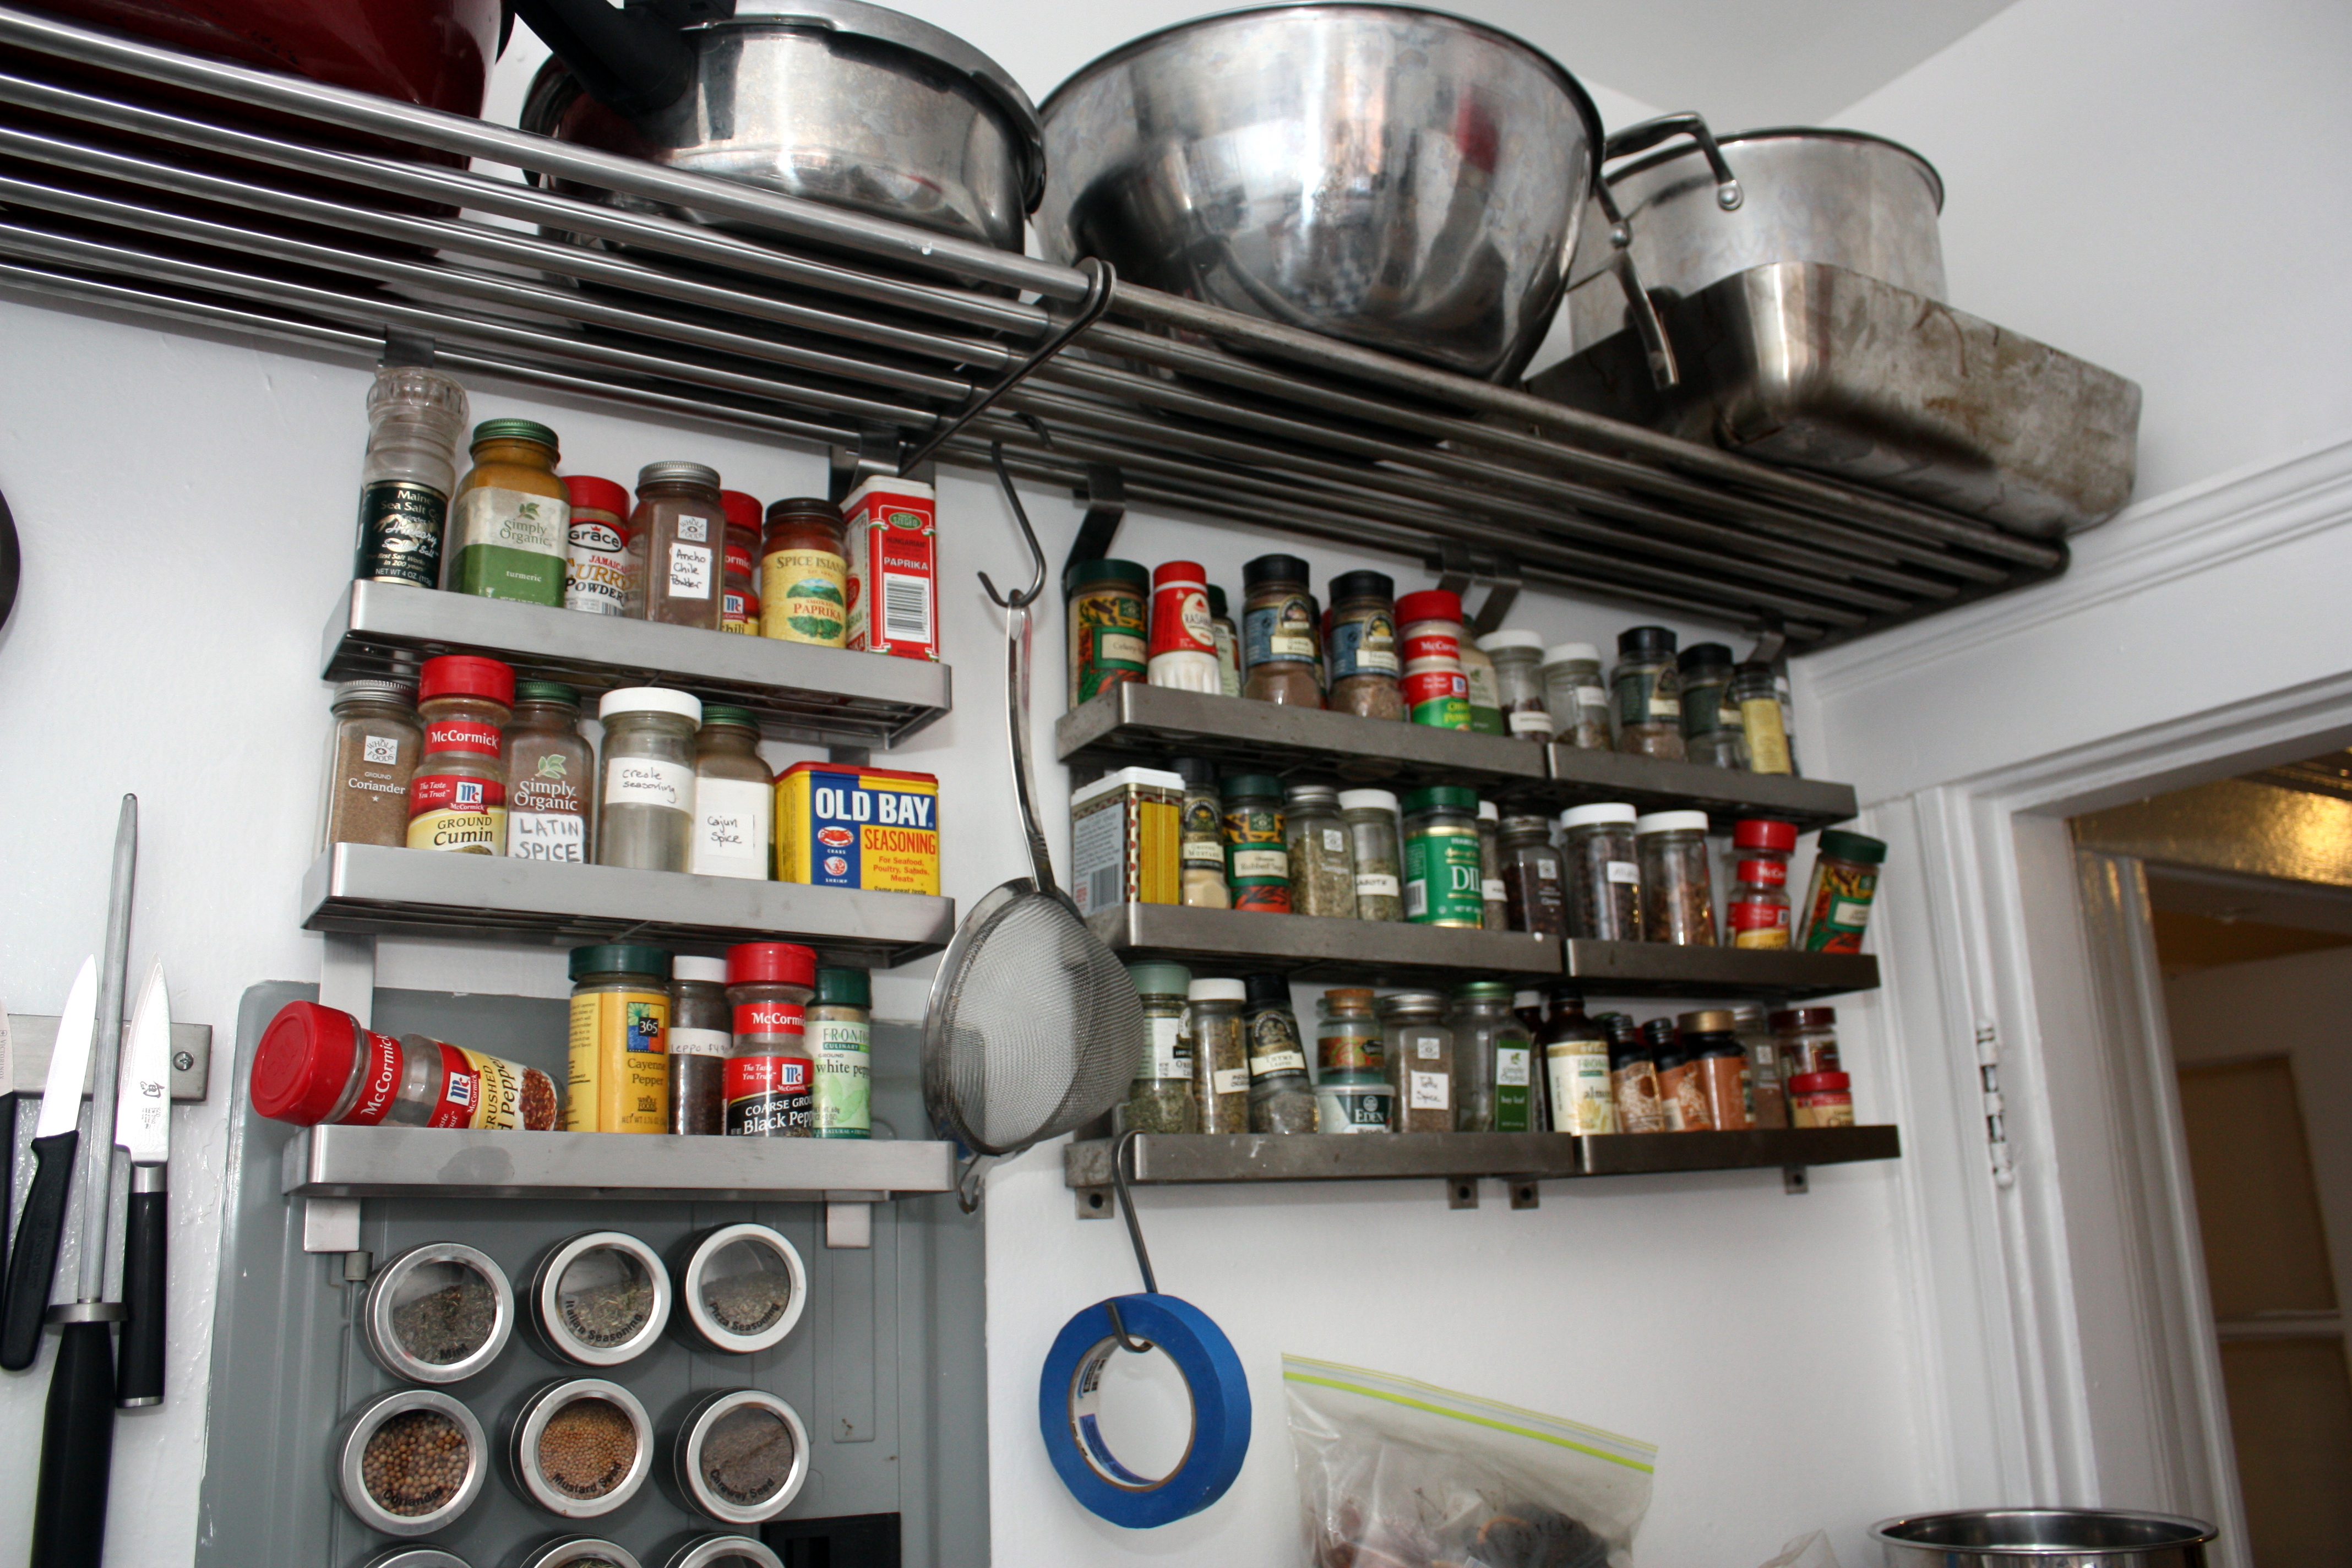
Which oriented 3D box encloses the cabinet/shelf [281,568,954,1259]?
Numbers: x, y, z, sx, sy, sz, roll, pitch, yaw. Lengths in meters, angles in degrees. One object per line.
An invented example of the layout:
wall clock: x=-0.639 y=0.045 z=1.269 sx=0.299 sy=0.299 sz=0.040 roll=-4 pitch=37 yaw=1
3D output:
cabinet/shelf: x=-0.500 y=0.113 z=1.582 sx=0.612 sy=0.345 sz=0.169 roll=7 pitch=-22 yaw=-29

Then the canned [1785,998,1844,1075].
canned: x=0.738 y=0.298 z=2.158 sx=0.074 sy=0.104 sz=0.073 roll=0 pitch=-6 yaw=15

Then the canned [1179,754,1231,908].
canned: x=0.028 y=0.049 z=1.850 sx=0.033 sy=0.149 sz=0.064 roll=-8 pitch=-16 yaw=32

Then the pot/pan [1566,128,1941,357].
pot/pan: x=0.612 y=-0.583 z=2.000 sx=0.310 sy=0.182 sz=0.301 roll=10 pitch=-19 yaw=-33

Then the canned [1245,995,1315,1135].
canned: x=0.104 y=0.267 z=1.829 sx=0.068 sy=0.157 sz=0.085 roll=0 pitch=-13 yaw=-1

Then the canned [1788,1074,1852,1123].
canned: x=0.732 y=0.360 z=2.107 sx=0.059 sy=0.054 sz=0.060 roll=-4 pitch=-10 yaw=39
